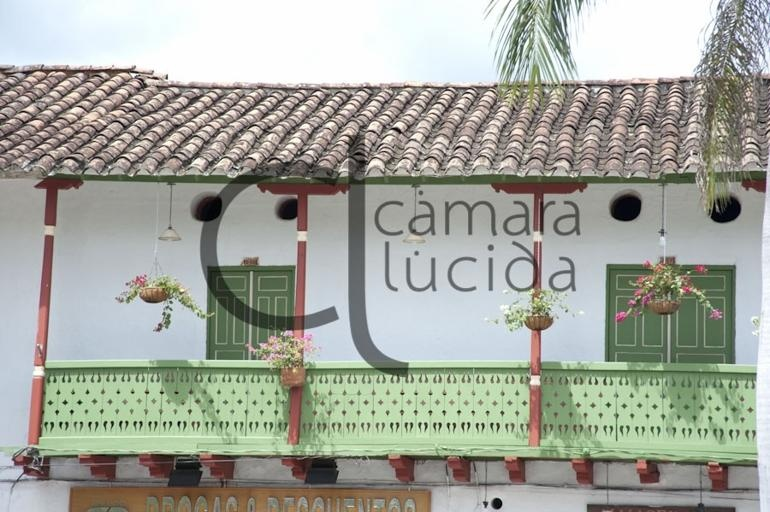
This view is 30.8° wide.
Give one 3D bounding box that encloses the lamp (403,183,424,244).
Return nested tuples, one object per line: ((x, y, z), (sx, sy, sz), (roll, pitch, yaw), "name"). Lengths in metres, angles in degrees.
((0.617, -0.882, 29.591), (0.431, 1.247, 0.510), (-2, -13, 1), "lamp")

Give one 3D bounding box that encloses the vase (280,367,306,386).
((-1.834, 2.392, 27.462), (0.367, 0.242, 0.376), (5, -12, -24), "vase")

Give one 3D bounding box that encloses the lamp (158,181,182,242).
((-4.652, -0.928, 30.031), (0.461, 1.204, 0.463), (0, -14, -7), "lamp")

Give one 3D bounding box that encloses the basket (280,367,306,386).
((-1.819, 2.392, 27.468), (0.371, 0.243, 0.379), (6, -12, -28), "basket")

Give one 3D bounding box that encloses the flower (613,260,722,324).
((5.413, 0.686, 27.831), (1.535, 0.858, 1.574), (1, -5, -16), "flower")

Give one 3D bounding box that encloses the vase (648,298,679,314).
((5.487, 0.984, 27.274), (0.360, 0.203, 0.355), (2, -5, -18), "vase")

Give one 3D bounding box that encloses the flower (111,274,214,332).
((-4.440, 0.852, 28.868), (1.703, 0.835, 1.228), (14, -16, -20), "flower")

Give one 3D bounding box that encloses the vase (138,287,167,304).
((-4.736, 0.793, 28.418), (0.373, 0.221, 0.365), (-1, -6, -14), "vase")

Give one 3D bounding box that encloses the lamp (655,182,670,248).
((5.826, -0.769, 29.065), (0.165, 1.397, 0.329), (0, -14, -9), "lamp")

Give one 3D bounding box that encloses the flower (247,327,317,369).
((-2.055, 1.847, 27.722), (0.866, 0.543, 0.882), (1, 3, 43), "flower")

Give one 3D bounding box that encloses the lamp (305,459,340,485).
((-1.271, 4.279, 28.584), (0.645, 0.491, 0.492), (1, 1, 4), "lamp")

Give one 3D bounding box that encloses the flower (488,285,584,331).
((2.794, 1.128, 27.996), (1.371, 0.676, 1.026), (-4, -5, 31), "flower")

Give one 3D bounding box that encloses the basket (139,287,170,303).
((-4.732, 0.794, 28.422), (0.390, 0.233, 0.378), (-2, -6, -18), "basket")
